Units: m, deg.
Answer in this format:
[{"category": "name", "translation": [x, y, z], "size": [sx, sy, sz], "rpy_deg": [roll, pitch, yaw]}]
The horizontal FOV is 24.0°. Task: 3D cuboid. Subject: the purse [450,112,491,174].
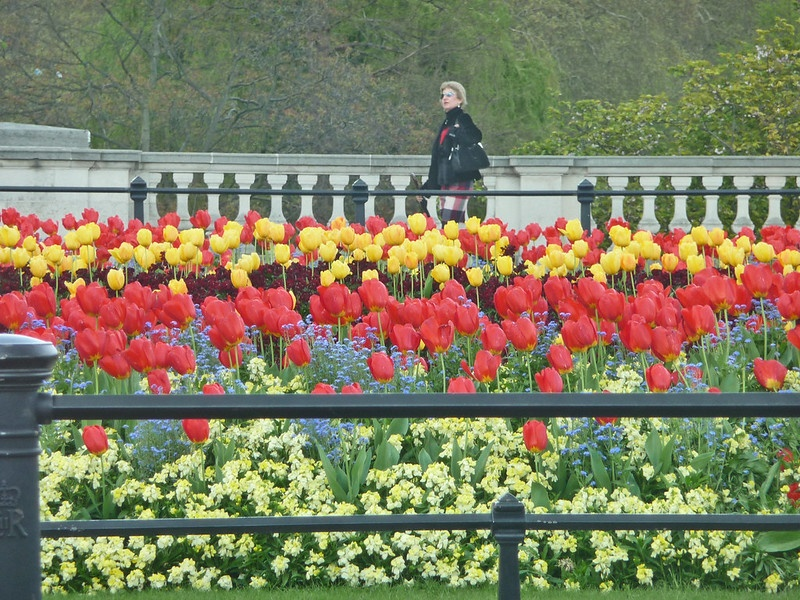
[{"category": "purse", "translation": [0.861, -1.943, 23.656], "size": [0.500, 0.847, 0.313], "rpy_deg": [2, 12, 2]}]
